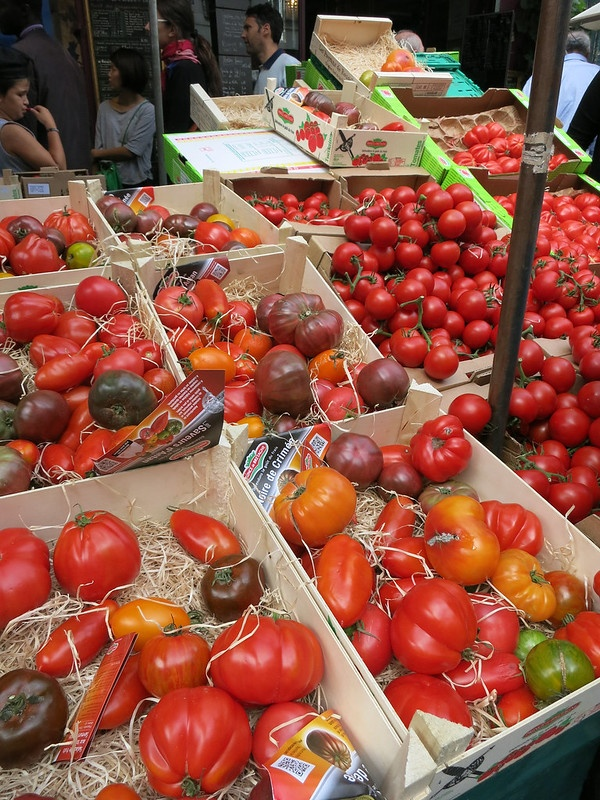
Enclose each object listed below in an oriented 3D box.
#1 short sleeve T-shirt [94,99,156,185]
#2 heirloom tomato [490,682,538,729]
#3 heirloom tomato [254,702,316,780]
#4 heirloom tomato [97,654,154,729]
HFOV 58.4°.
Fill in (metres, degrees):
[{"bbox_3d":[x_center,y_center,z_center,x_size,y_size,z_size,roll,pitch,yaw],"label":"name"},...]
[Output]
[{"bbox_3d":[-1.810,-2.648,5.546,0.617,0.764,0.471,17,30,13],"label":"short sleeve T-shirt"},{"bbox_3d":[0.488,0.715,1.284,0.107,0.079,0.080,-25,60,1],"label":"heirloom tomato"},{"bbox_3d":[-0.043,0.671,1.075,0.121,0.067,0.095,-11,33,-27],"label":"heirloom tomato"},{"bbox_3d":[-0.358,0.598,1.131,0.064,0.072,0.139,28,57,-18],"label":"heirloom tomato"}]
